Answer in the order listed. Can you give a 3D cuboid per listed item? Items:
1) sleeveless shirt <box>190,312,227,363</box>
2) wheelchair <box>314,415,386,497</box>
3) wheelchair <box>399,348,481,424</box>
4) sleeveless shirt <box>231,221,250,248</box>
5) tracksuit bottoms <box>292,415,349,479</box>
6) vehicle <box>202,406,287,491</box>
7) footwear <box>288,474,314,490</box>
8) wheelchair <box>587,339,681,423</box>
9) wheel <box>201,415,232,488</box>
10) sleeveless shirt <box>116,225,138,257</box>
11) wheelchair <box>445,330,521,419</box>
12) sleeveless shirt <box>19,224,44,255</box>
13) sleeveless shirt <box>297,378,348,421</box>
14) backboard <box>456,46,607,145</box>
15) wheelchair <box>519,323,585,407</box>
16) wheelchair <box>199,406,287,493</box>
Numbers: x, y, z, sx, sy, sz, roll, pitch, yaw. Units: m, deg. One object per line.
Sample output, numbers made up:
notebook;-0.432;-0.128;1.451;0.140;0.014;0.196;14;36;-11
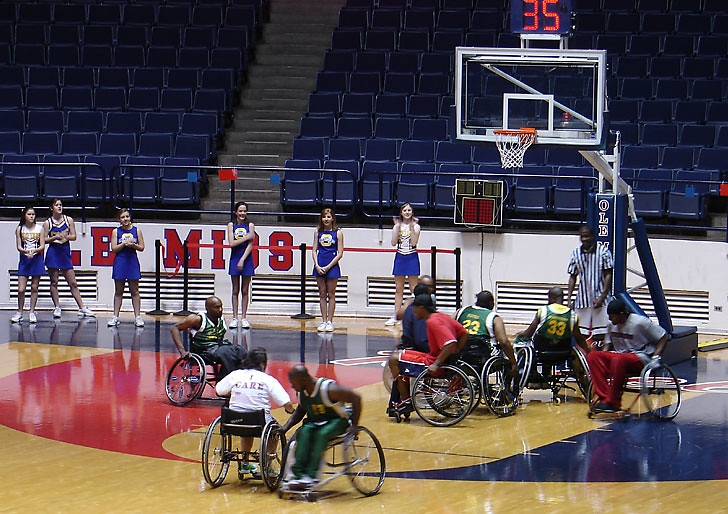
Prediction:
sleeveless shirt;-2.082;1.066;14.239;0.522;0.549;0.341;-9;3;-37
wheelchair;-0.150;2.299;12.010;0.982;0.930;0.590;-3;8;-22
wheelchair;0.991;1.771;13.665;0.988;0.913;0.813;0;-2;4
sleeveless shirt;-2.233;-0.410;18.404;0.379;0.386;0.207;-2;-3;41
tracksuit bottoms;-0.492;2.144;11.506;0.633;0.678;0.154;0;-2;-3
vehicle;-1.293;2.091;11.826;0.935;1.060;1.028;6;-10;-23
footwear;-0.697;2.533;11.508;0.223;0.079;0.182;-2;1;-12
wheelchair;4.058;1.722;14.619;1.154;1.080;1.060;3;-7;-34
wheel;-1.682;2.296;11.922;0.229;0.775;0.824;3;6;15
sleeveless shirt;-4.244;-0.287;18.415;0.404;0.544;0.323;1;-2;-14
wheelchair;1.699;1.588;14.018;0.944;1.194;1.142;4;14;41
sleeveless shirt;-6.107;-0.326;18.852;0.626;0.731;0.401;0;-2;-11
sleeveless shirt;-0.483;1.637;11.602;0.556;0.567;0.354;-9;14;25
backboard;2.882;-2.565;16.424;2.570;1.561;1.389;6;14;29
wheelchair;2.584;1.608;14.425;0.972;1.267;1.059;1;23;0
wheelchair;-1.475;2.173;12.042;0.850;0.852;0.690;10;-23;-6
